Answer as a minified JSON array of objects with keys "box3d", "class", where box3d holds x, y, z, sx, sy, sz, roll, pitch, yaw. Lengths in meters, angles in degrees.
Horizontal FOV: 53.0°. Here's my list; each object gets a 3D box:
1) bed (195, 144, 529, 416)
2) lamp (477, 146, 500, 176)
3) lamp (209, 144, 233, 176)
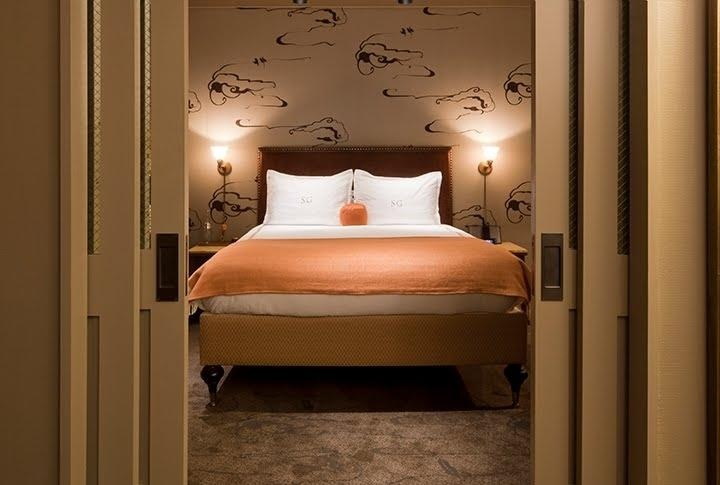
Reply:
[{"box3d":[-0.027,0.150,4.281,1.213,0.970,1.791,0,1,0],"class":"bed"},{"box3d":[0.978,-0.614,5.487,0.125,0.190,0.131,5,-9,-32],"class":"lamp"},{"box3d":[-1.027,-0.622,5.392,0.174,0.317,0.199,-1,-4,5],"class":"lamp"}]
